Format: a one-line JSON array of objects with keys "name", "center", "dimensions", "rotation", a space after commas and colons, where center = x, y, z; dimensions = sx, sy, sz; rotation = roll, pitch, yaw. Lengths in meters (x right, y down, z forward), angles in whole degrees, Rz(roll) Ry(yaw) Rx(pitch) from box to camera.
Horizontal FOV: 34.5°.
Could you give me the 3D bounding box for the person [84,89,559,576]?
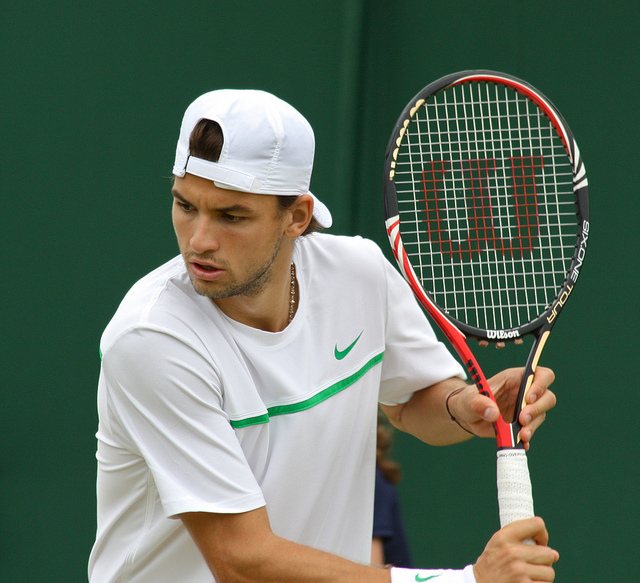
[{"name": "person", "center": [-0.136, 0.248, 3.564], "dimensions": [1.354, 1.729, 0.869], "rotation": [-7, -10, -16]}]
